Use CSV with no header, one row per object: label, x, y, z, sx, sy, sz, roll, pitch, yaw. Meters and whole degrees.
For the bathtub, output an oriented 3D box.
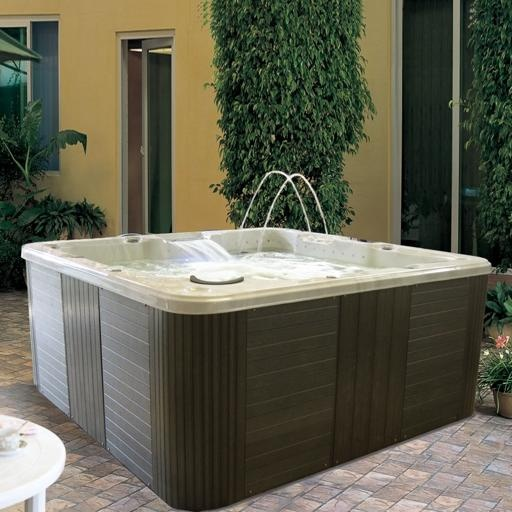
bathtub,-0.064,0.349,2.646,1.732,0.813,1.812,-3,6,-38
